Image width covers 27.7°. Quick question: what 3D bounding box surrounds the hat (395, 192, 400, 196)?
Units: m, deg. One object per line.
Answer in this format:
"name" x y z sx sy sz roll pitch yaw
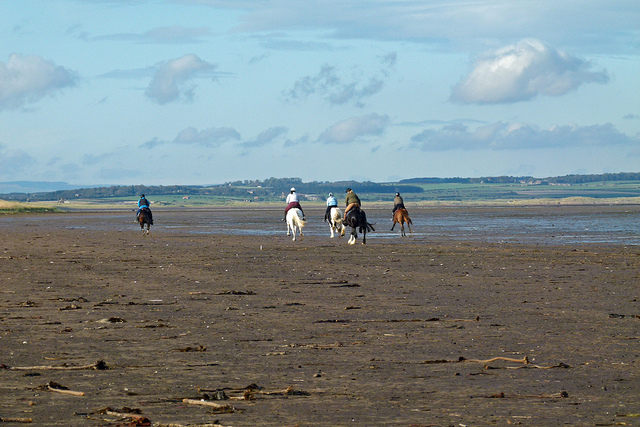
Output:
"hat" 4.313 -1.050 71.958 0.254 0.219 0.260 0 -7 4

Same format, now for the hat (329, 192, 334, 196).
"hat" 0.578 -1.067 71.382 0.257 0.085 0.276 1 -5 -2

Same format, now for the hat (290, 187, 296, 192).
"hat" -1.601 -1.313 73.123 0.371 0.270 0.321 4 9 24
